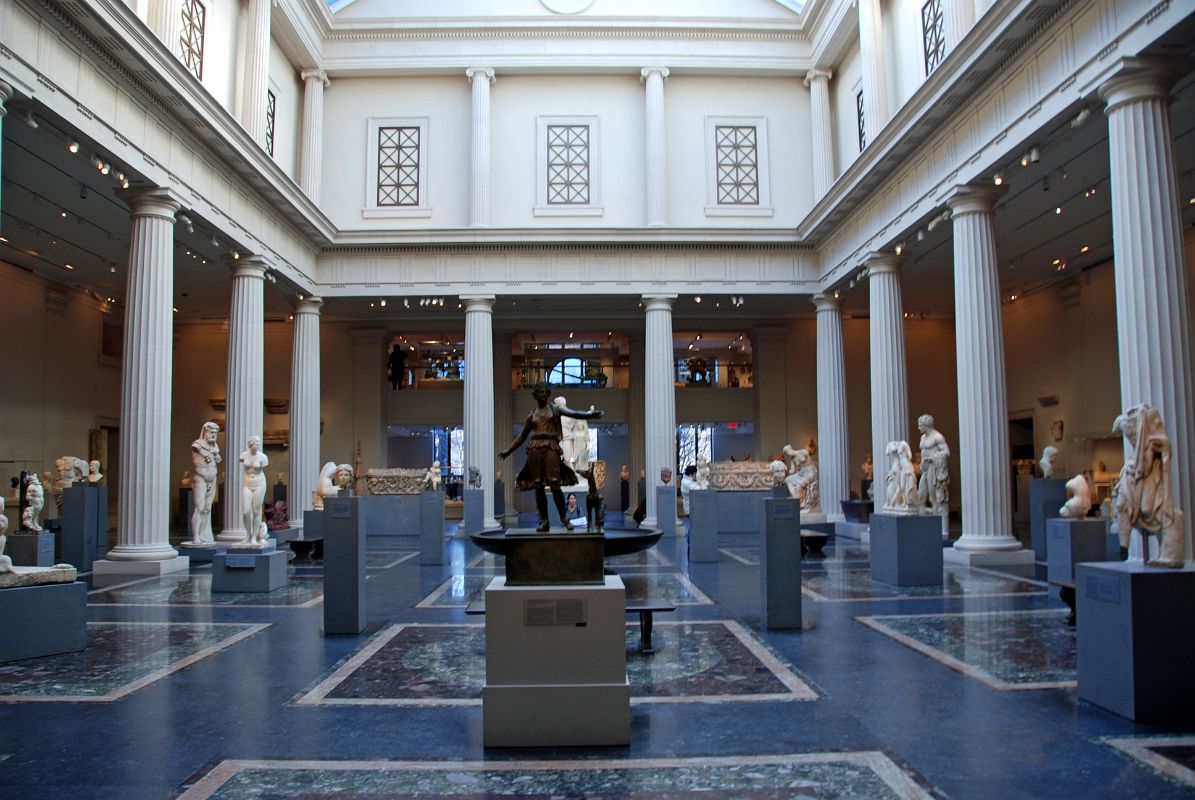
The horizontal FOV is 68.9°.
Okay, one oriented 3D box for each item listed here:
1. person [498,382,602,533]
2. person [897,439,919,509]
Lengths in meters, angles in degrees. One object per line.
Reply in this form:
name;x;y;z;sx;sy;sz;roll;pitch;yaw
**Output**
person;-0.699;0.743;12.423;0.734;1.833;1.254;-4;5;-33
person;6.083;1.479;17.263;0.373;1.234;0.958;0;5;18
